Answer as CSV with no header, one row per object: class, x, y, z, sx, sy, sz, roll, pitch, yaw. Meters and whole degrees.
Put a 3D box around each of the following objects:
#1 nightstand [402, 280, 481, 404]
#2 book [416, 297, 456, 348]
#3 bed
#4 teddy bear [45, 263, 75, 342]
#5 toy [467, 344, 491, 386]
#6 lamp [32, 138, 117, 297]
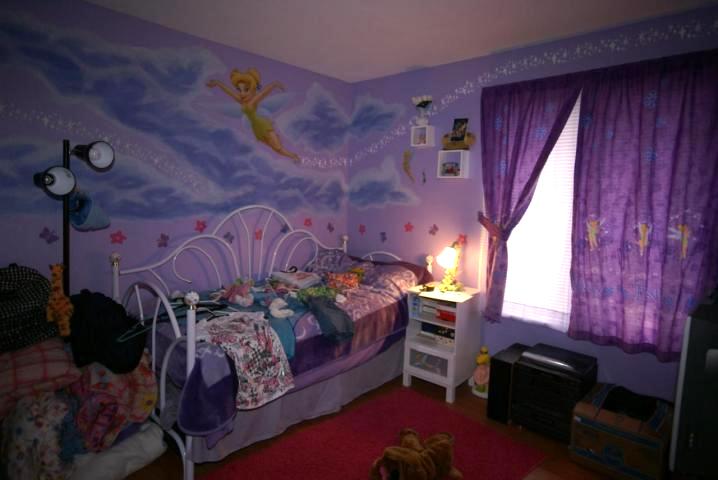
nightstand,0.931,1.093,5.522,0.814,0.989,0.725,-6,10,-40
book,0.803,0.888,5.336,0.530,0.493,0.142,7,6,43
bed,-0.881,1.018,4.768,1.100,1.233,2.313,6,8,44
teddy bear,-2.516,0.530,4.193,0.525,0.522,0.163,25,20,34
toy,1.283,1.378,5.331,0.204,0.463,0.419,4,4,13
lamp,-2.620,-0.085,4.500,0.483,1.626,0.637,20,17,39
